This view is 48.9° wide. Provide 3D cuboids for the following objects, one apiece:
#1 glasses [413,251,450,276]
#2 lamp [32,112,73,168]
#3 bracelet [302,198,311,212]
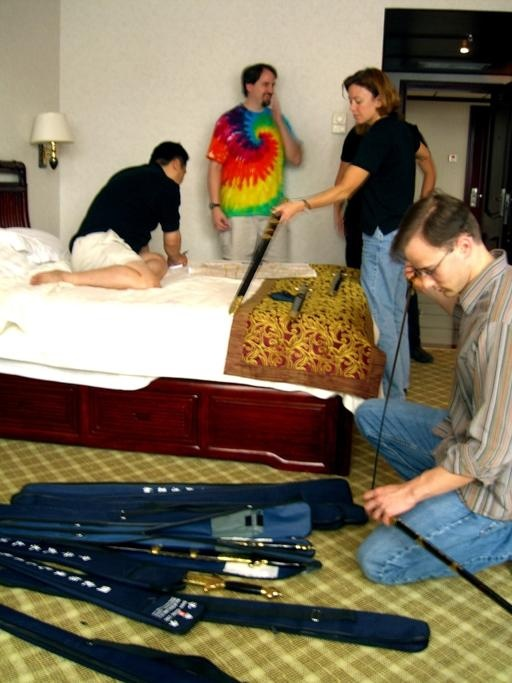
[{"bbox_3d":[0.356,-0.156,1.156,0.046,0.013,0.046,-48,20,-17],"label":"glasses"},{"bbox_3d":[-1.347,-1.310,3.742,0.286,0.302,0.250,1,13,7],"label":"lamp"},{"bbox_3d":[0.200,-0.530,2.196,0.017,0.036,0.041,-21,-33,10],"label":"bracelet"}]
